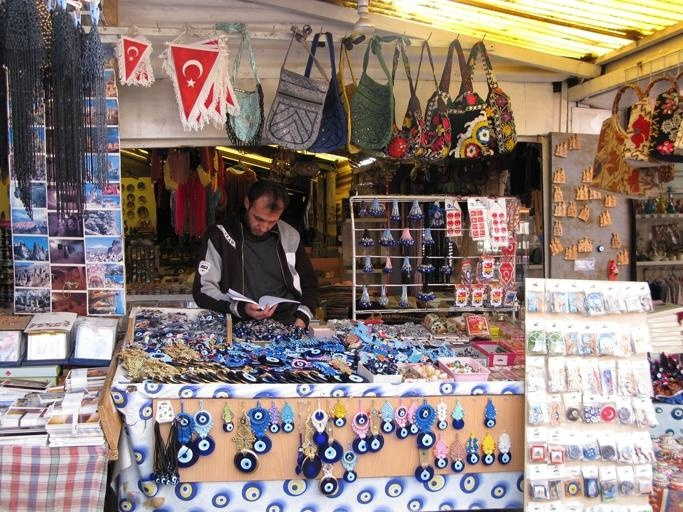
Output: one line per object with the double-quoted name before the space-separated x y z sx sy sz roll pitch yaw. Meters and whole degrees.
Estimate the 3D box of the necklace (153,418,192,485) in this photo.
"necklace" -0.897 1.014 3.167 0.136 0.347 0.098 2 1 -21

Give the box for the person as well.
"person" -0.512 0.159 4.105 0.831 1.248 0.705 -6 17 -28
